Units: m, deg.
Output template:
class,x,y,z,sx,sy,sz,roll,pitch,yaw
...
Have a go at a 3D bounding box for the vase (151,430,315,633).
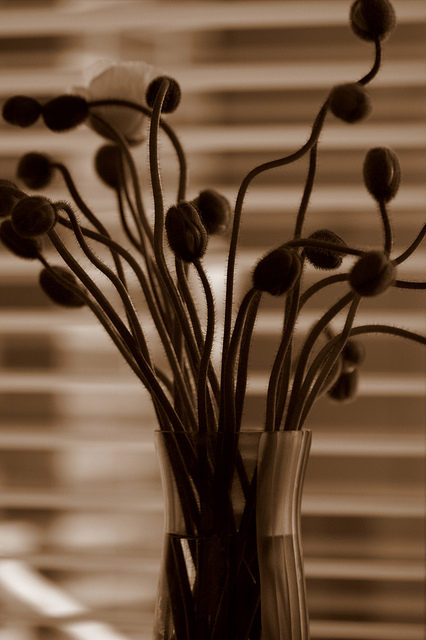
class,x,y,z,sx,sy,sz,roll,pitch,yaw
vase,0.005,0.202,1.421,0.161,0.228,0.156,3,-12,-9
